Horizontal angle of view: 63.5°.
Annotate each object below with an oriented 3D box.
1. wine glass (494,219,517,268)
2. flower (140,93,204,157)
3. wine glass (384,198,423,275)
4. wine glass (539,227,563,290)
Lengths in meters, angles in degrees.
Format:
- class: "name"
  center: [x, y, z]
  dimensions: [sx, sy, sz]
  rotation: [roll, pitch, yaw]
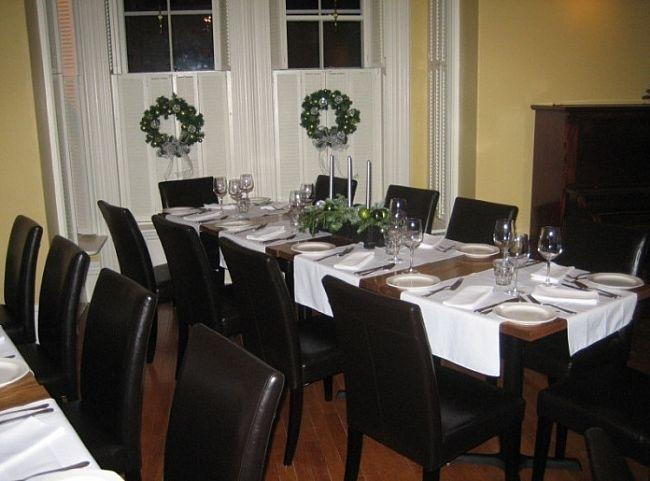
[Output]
- class: "wine glass"
  center: [0.882, -0.002, 2.577]
  dimensions: [0.095, 0.214, 0.102]
  rotation: [3, 12, 22]
- class: "flower"
  center: [-1.426, -1.071, 4.902]
  dimensions: [0.533, 0.576, 0.294]
  rotation: [1, 12, 10]
- class: "wine glass"
  center: [0.423, -0.049, 2.919]
  dimensions: [0.189, 0.375, 0.486]
  rotation: [0, 11, 6]
- class: "wine glass"
  center: [1.176, 0.032, 2.742]
  dimensions: [0.106, 0.286, 0.535]
  rotation: [4, 12, 23]
